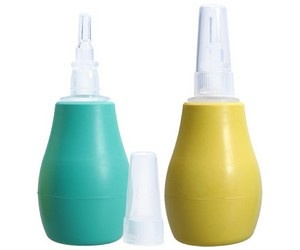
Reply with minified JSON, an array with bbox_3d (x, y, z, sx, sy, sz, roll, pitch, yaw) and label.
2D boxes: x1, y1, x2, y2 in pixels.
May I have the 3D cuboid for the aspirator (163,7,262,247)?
[{"bbox_3d":[0.270,-0.012,1.891,0.426,1.047,0.191,-1,-3,8],"label":"aspirator"}]
